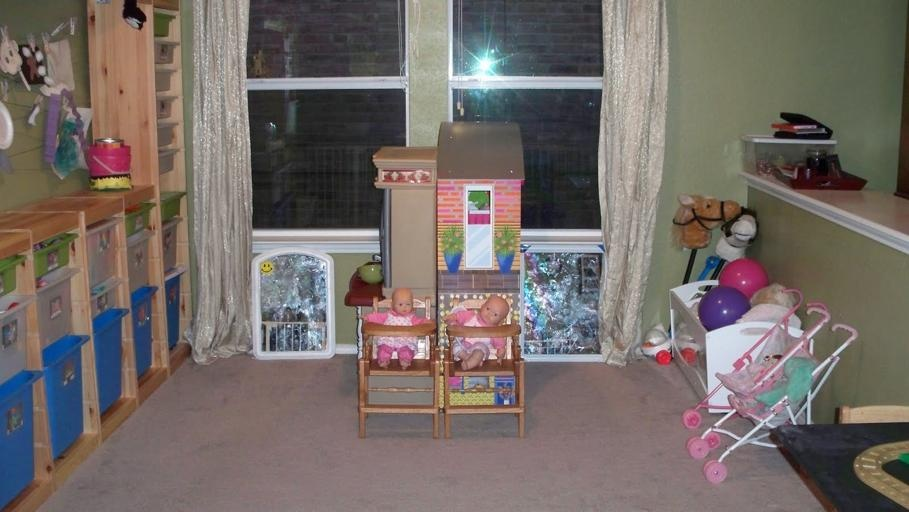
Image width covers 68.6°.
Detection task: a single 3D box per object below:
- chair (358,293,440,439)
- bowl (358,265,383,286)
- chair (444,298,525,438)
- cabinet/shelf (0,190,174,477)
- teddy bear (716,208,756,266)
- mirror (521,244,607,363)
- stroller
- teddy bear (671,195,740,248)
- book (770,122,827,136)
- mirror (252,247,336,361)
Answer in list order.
[{"bbox_3d":[-0.453,0.824,5.321,0.645,1.147,0.511,-1,10,-6],"label":"chair"},{"bbox_3d":[-0.745,0.153,5.896,0.275,0.176,0.097,4,11,22],"label":"bowl"},{"bbox_3d":[0.240,0.855,5.305,0.660,1.100,0.440,1,10,5],"label":"chair"},{"bbox_3d":[-2.792,0.594,4.985,0.673,1.514,1.841,-2,18,-5],"label":"cabinet/shelf"},{"bbox_3d":[2.540,-0.188,6.011,0.267,0.401,0.440,21,26,37],"label":"teddy bear"},{"bbox_3d":[1.018,0.438,6.344,1.203,1.461,0.083,0,6,0],"label":"mirror"},{"bbox_3d":[2.160,0.924,5.291,1.581,1.273,0.874,-9,19,5],"label":"stroller"},{"bbox_3d":[2.241,-0.373,6.213,0.681,0.553,0.368,0,33,9],"label":"teddy bear"},{"bbox_3d":[3.031,-1.118,5.869,0.428,0.095,0.144,5,11,26],"label":"book"},{"bbox_3d":[-1.548,0.454,6.325,1.111,1.408,0.104,-1,-1,-3],"label":"mirror"}]
